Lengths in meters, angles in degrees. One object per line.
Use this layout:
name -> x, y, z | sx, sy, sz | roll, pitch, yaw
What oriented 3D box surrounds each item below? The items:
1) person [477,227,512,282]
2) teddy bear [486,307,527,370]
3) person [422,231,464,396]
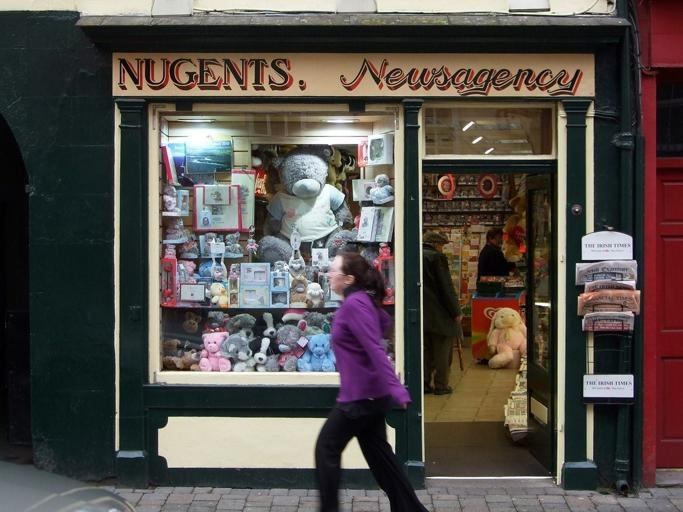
person -> 2.230, -0.037, 12.697 | 0.481, 0.830, 0.559 | 3, 11, 10
teddy bear -> 2.219, 1.106, 11.731 | 0.427, 0.942, 0.415 | 0, 11, -5
person -> 1.193, 0.740, 10.568 | 0.466, 2.023, 0.588 | 2, 11, 5
